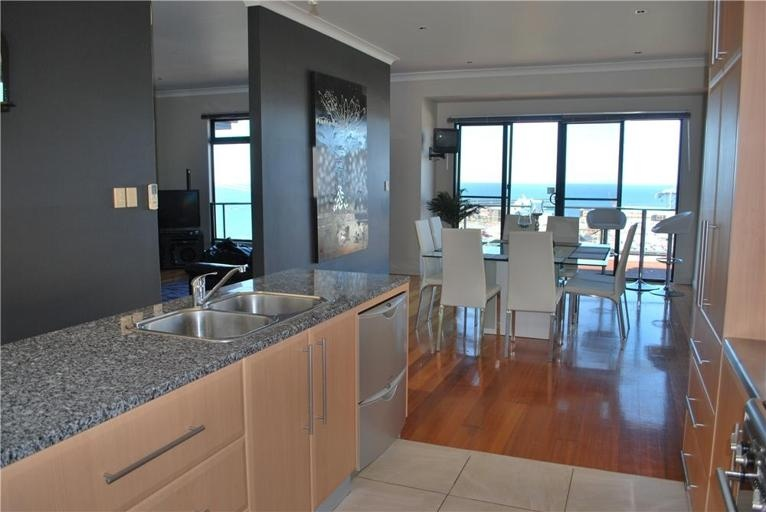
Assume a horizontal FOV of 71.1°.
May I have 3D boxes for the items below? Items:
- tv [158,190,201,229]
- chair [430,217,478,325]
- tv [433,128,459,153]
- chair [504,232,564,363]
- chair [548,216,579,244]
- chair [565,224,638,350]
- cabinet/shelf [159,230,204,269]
[{"bbox_3d":[-3.387,-0.785,8.845,0.901,0.747,0.468,-1,11,-12],"label":"tv"},{"bbox_3d":[0.709,0.166,4.934,0.449,0.884,0.288,7,15,26],"label":"chair"},{"bbox_3d":[0.984,-1.804,8.372,0.405,0.378,0.379,1,10,5],"label":"tv"},{"bbox_3d":[1.426,0.308,4.991,0.527,1.191,0.639,5,14,18],"label":"chair"},{"bbox_3d":[2.118,-0.304,6.259,0.331,0.315,0.241,5,15,25],"label":"chair"},{"bbox_3d":[2.305,0.189,5.631,0.656,1.262,1.570,7,15,25],"label":"chair"},{"bbox_3d":[-3.283,-0.115,8.651,0.643,0.555,0.328,-2,4,-18],"label":"cabinet/shelf"}]
